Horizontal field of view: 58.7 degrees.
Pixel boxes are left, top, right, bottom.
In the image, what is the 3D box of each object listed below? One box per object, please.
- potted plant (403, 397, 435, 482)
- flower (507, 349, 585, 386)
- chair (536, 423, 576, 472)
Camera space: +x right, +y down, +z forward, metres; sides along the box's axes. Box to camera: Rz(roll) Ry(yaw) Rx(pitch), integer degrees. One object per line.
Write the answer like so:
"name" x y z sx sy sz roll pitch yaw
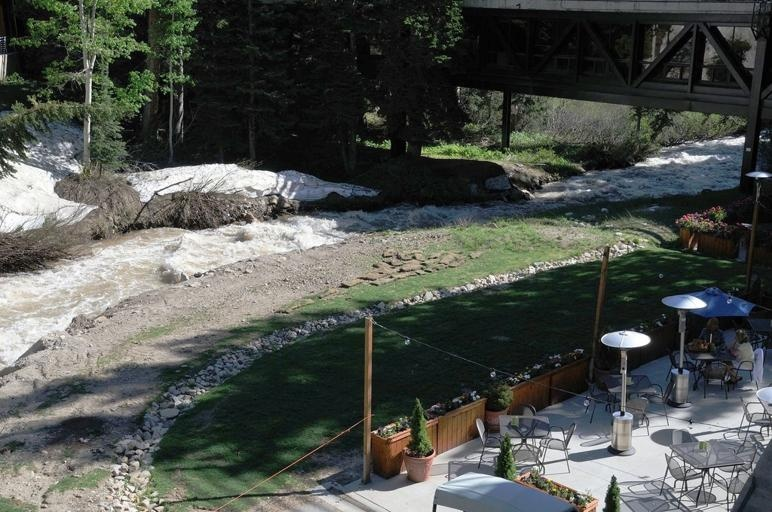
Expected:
"potted plant" 0.833 4.802 17.859 0.794 2.107 0.476 -2 8 1
"flower" 4.917 3.476 21.107 2.191 0.324 0.326 -16 45 -8
"chair" 4.626 4.976 18.635 0.858 1.287 1.314 -1 7 11
